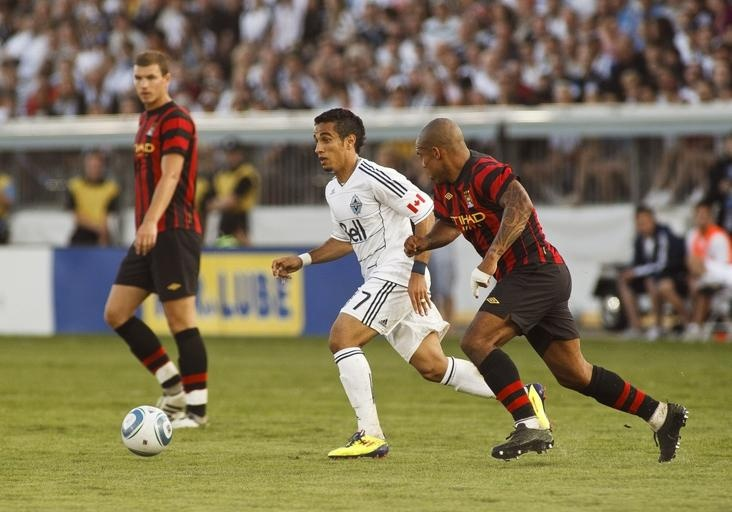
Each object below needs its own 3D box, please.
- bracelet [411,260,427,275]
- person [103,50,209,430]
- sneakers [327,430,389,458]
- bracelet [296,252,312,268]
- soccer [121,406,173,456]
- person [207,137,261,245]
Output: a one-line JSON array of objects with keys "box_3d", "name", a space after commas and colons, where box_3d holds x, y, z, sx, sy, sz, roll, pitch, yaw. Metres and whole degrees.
[{"box_3d": [0.524, 0.136, 12.721, 0.132, 0.142, 0.135, 16, 5, 40], "name": "bracelet"}, {"box_3d": [-2.211, -0.154, 13.557, 0.995, 4.014, 0.808, 0, 8, 0], "name": "person"}, {"box_3d": [-0.086, 1.925, 12.772, 0.581, 0.269, 0.249, 3, -12, -6], "name": "sneakers"}, {"box_3d": [-0.644, 0.076, 13.273, 0.141, 0.113, 0.126, -15, 38, -11], "name": "bracelet"}, {"box_3d": [-2.192, 1.713, 12.741, 0.460, 0.477, 0.471, 2, 21, -2], "name": "soccer"}, {"box_3d": [-2.175, -1.001, 20.840, 0.815, 1.640, 0.542, 2, 9, 9], "name": "person"}]
